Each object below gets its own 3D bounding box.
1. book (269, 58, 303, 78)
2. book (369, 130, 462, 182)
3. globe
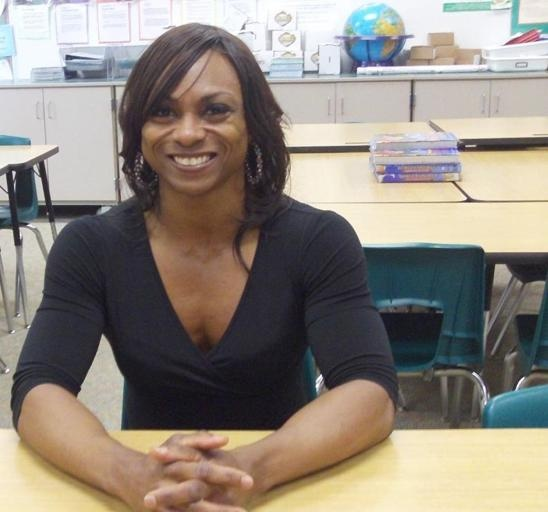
[{"bbox_3d":[0.109,-1.629,4.985,0.240,0.135,0.184,2,21,6],"label":"book"},{"bbox_3d":[0.613,-0.411,2.452,0.340,0.213,0.227,1,25,-7],"label":"book"},{"bbox_3d":[0.869,-1.882,4.905,0.524,0.471,0.543,-8,22,-5],"label":"globe"}]
